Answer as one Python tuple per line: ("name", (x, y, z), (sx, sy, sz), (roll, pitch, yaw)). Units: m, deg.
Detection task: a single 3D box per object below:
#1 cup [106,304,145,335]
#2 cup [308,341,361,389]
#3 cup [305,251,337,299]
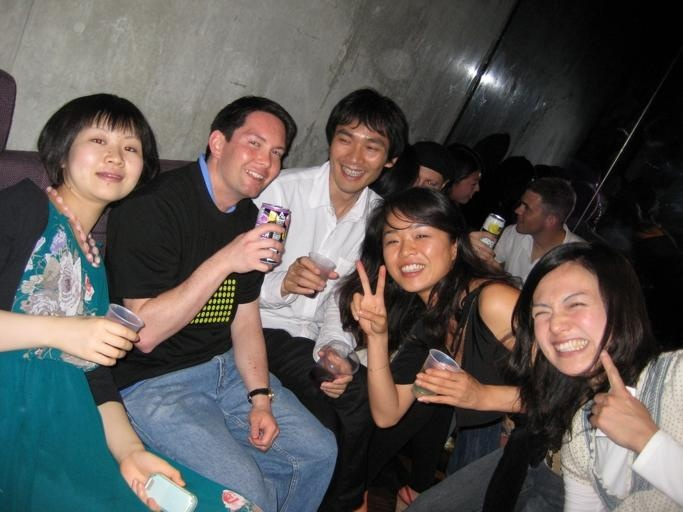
("cup", (-0.735, 0.226, 1.665), (0.111, 0.100, 0.120), (14, 16, -4))
("cup", (-0.045, 0.494, 2.361), (0.204, 0.210, 0.204), (46, 26, -31))
("cup", (-0.078, 0.089, 2.341), (0.142, 0.165, 0.129), (31, 11, 9))
